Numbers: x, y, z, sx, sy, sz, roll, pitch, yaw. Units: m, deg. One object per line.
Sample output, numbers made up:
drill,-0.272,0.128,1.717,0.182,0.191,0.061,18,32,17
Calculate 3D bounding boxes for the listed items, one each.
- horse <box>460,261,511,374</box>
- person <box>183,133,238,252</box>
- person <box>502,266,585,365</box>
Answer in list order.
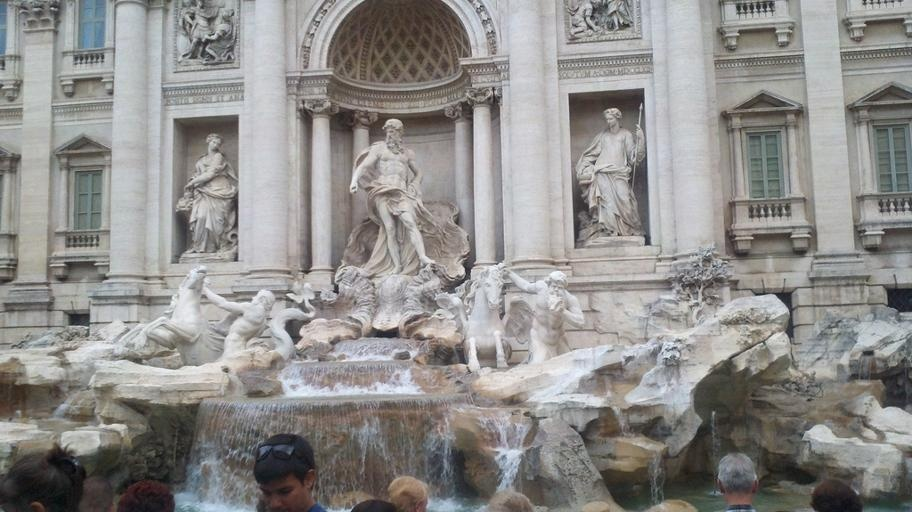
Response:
horse,0.781,1.673,27.427,1.219,2.869,1.824,-2,-4,1
person,-7.665,-1.836,31.670,1.590,3.895,0.647,-1,-4,-11
person,2.474,1.641,26.793,1.675,2.380,0.929,-3,-4,17
